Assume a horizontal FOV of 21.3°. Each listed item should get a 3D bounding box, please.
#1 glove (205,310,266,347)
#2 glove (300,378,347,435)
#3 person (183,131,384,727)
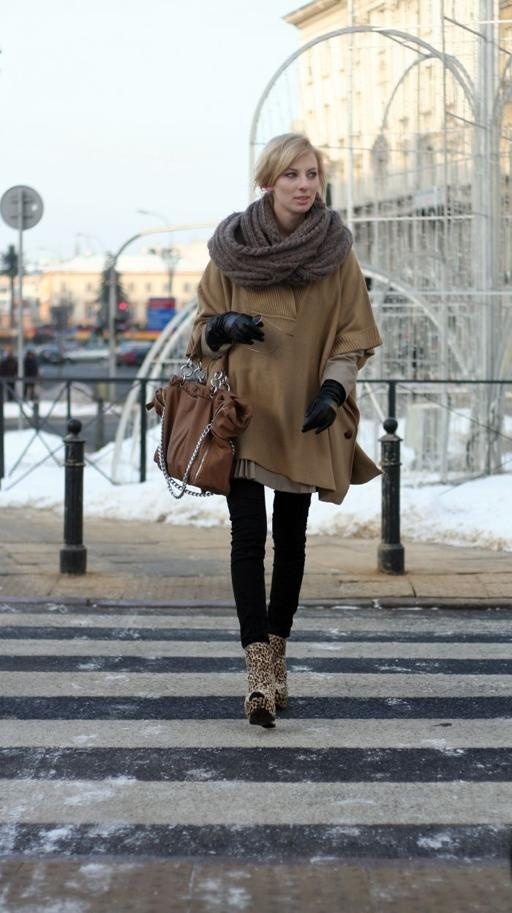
[{"bbox_3d":[-0.063,-0.368,4.163,0.149,0.123,0.272,0,6,-20],"label":"glove"},{"bbox_3d":[0.195,-0.143,4.125,0.085,0.157,0.166,4,6,25],"label":"glove"},{"bbox_3d":[0.098,-0.069,4.283,0.603,1.850,0.601,1,5,-12],"label":"person"}]
